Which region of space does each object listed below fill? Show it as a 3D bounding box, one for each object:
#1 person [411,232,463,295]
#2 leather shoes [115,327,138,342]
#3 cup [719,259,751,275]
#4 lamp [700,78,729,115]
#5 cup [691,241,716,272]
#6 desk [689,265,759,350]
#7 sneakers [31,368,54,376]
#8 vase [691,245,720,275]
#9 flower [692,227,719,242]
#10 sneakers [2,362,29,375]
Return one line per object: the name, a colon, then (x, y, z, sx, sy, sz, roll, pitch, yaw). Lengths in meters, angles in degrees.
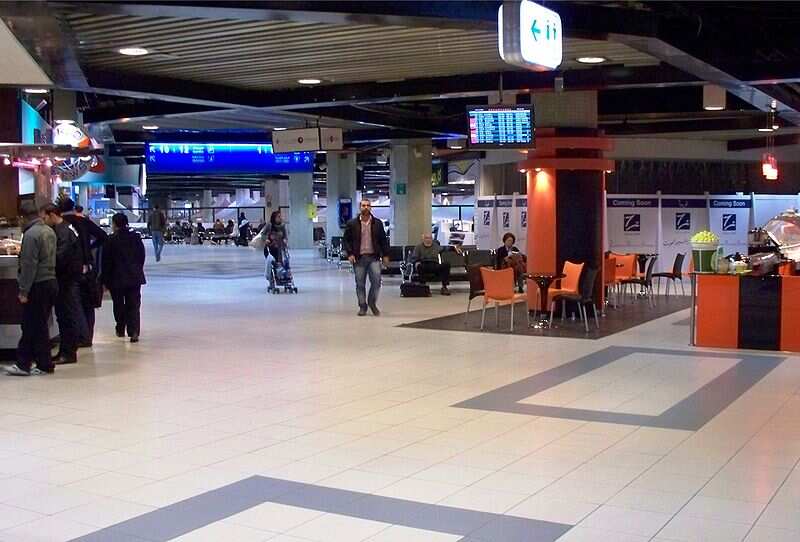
person: (0.734, -0.178, 14.879, 1.032, 1.480, 0.738, -5, 6, -29)
leather shoes: (-4.120, 0.943, 9.267, 0.358, 0.143, 0.110, 23, 12, 20)
cup: (4.837, -0.048, 8.988, 0.269, 0.149, 0.274, 0, -2, 0)
lamp: (6.180, -3.442, 12.118, 0.379, 0.423, 0.696, 0, 5, 23)
cup: (4.490, -0.200, 9.119, 0.425, 0.403, 0.421, 5, -4, 0)
desk: (4.530, 0.562, 8.856, 0.625, 1.060, 0.279, 0, 6, 26)
sneakers: (-4.184, 1.171, 7.261, 0.274, 0.102, 0.087, -2, 3, -10)
vase: (4.495, -0.175, 9.124, 0.385, 0.351, 0.377, 3, -6, -21)
flower: (4.601, -0.514, 9.303, 0.297, 0.157, 0.422, 2, 6, 41)
sneakers: (-4.559, 1.146, 7.288, 0.367, 0.150, 0.123, 8, -3, -1)
